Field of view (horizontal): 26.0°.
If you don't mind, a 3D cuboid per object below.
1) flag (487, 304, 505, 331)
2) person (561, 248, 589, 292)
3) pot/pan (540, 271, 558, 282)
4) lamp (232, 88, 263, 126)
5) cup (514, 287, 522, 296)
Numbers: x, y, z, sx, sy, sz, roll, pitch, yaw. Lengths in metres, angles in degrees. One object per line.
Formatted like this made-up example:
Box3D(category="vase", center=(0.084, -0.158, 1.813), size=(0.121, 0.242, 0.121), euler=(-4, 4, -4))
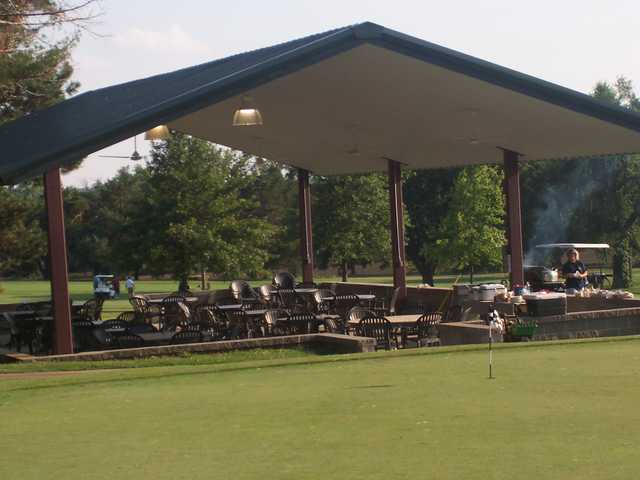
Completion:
Box3D(category="flag", center=(3.573, 1.571, 28.033), size=(0.253, 0.633, 0.604), euler=(-8, -34, 14))
Box3D(category="person", center=(6.110, 0.733, 33.241), size=(0.557, 1.033, 1.861), euler=(-2, -6, 10))
Box3D(category="pot/pan", center=(6.275, 0.977, 37.755), size=(0.449, 0.334, 0.452), euler=(-2, 2, -25))
Box3D(category="lamp", center=(-1.670, -2.836, 31.048), size=(0.769, 0.889, 0.811), euler=(-1, 1, 26))
Box3D(category="cup", center=(4.666, 1.196, 32.510), size=(0.166, 0.201, 0.167), euler=(1, 1, 0))
